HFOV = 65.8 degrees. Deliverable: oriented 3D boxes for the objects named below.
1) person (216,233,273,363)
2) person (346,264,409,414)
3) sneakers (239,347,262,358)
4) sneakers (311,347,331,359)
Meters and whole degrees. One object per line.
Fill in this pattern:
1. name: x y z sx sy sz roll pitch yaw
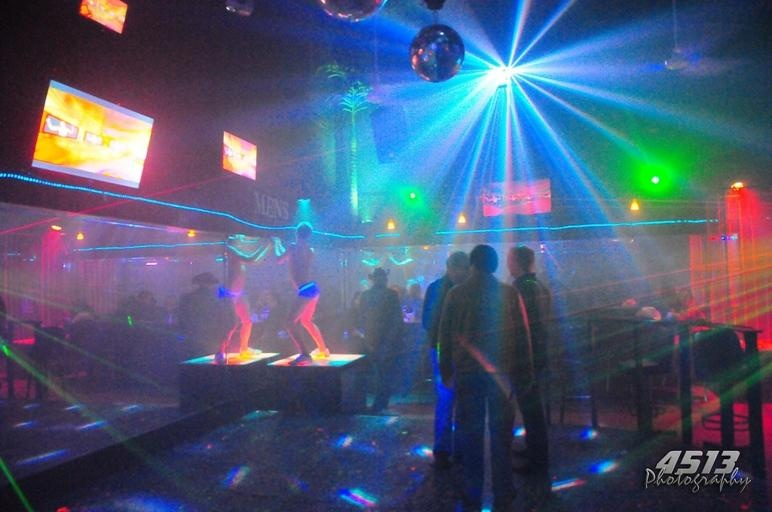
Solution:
1. person: -2.537 0.702 10.635 0.818 2.330 1.573 4 -8 -12
2. person: -0.096 1.175 10.771 0.779 2.206 0.643 0 35 1
3. sneakers: -2.301 1.673 10.229 0.396 0.170 0.136 -1 0 -40
4. sneakers: -1.104 1.689 10.146 0.369 0.151 0.136 -3 -8 42
